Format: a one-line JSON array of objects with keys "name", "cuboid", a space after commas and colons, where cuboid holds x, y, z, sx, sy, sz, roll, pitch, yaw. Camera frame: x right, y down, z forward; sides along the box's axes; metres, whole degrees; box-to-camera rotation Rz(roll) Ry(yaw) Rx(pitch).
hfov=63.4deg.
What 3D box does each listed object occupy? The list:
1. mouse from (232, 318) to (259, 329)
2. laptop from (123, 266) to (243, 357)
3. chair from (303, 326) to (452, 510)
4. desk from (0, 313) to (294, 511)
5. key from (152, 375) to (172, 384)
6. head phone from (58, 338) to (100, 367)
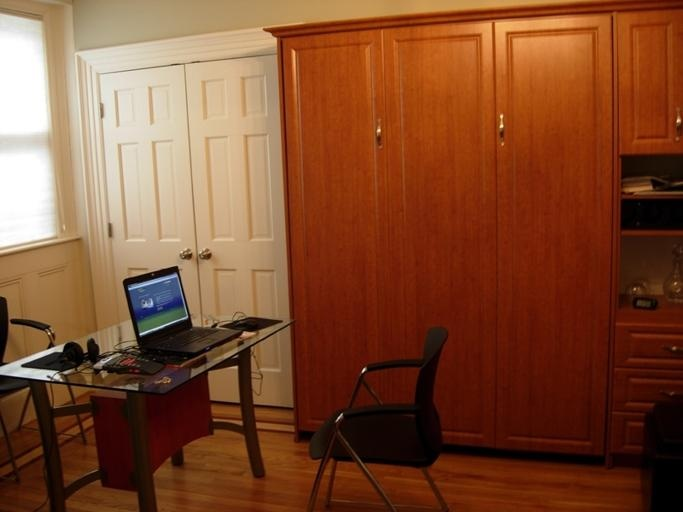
[{"name": "mouse", "cuboid": [-0.575, 0.412, 3.328, 0.076, 0.020, 0.084, 3, 7, 37]}, {"name": "laptop", "cuboid": [-0.881, 0.314, 3.119, 0.577, 0.391, 0.621, 0, 7, -7]}, {"name": "chair", "cuboid": [0.219, 0.915, 2.984, 0.707, 1.070, 0.787, -2, 8, 11]}, {"name": "desk", "cuboid": [-1.051, 0.755, 3.169, 1.166, 1.046, 1.437, 3, 10, 20]}, {"name": "key", "cuboid": [-0.862, 0.591, 2.656, 0.051, 0.013, 0.037, -5, 10, -43]}, {"name": "head phone", "cuboid": [-1.357, 0.509, 2.893, 0.130, 0.092, 0.176, 4, -9, -16]}]
